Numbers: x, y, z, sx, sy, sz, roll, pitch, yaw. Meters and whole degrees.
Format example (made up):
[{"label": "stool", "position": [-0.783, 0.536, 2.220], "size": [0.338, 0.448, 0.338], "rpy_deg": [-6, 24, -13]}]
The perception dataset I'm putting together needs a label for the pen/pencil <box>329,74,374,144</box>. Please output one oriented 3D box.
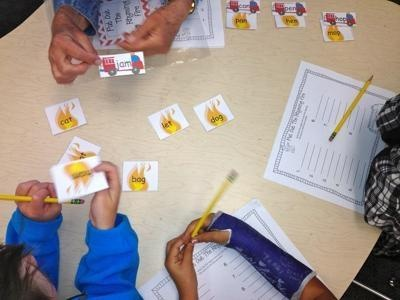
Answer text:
[{"label": "pen/pencil", "position": [0.660, -0.167, 1.457], "size": [0.026, 0.024, 0.351], "rpy_deg": [39, 78, -28]}]
